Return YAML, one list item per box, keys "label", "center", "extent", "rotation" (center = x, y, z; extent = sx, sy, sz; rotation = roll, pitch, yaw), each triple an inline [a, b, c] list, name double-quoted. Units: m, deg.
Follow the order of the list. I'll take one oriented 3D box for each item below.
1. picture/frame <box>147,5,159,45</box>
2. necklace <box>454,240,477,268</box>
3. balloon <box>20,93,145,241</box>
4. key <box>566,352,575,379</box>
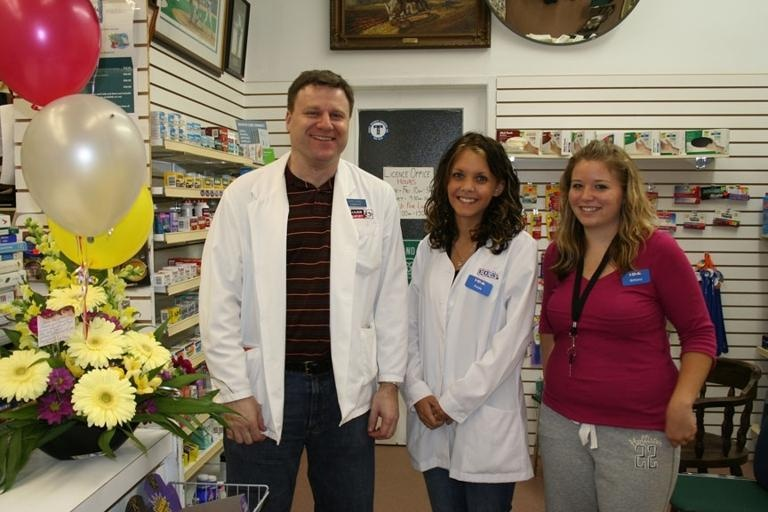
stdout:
- label: "picture/frame"
  center: [-1.343, -1.342, 3.197]
  extent: [0.053, 0.243, 0.229]
  rotation: [-2, 4, -21]
- label: "necklace"
  center: [0.411, -0.001, 2.763]
  extent: [0.096, 0.132, 0.032]
  rotation: [29, 1, 33]
- label: "balloon"
  center: [-1.157, -0.346, 2.166]
  extent: [0.491, 0.567, 0.479]
  rotation: [-5, -6, 1]
- label: "key"
  center: [0.844, 0.490, 2.470]
  extent: [0.036, 0.098, 0.024]
  rotation: [4, -13, -2]
